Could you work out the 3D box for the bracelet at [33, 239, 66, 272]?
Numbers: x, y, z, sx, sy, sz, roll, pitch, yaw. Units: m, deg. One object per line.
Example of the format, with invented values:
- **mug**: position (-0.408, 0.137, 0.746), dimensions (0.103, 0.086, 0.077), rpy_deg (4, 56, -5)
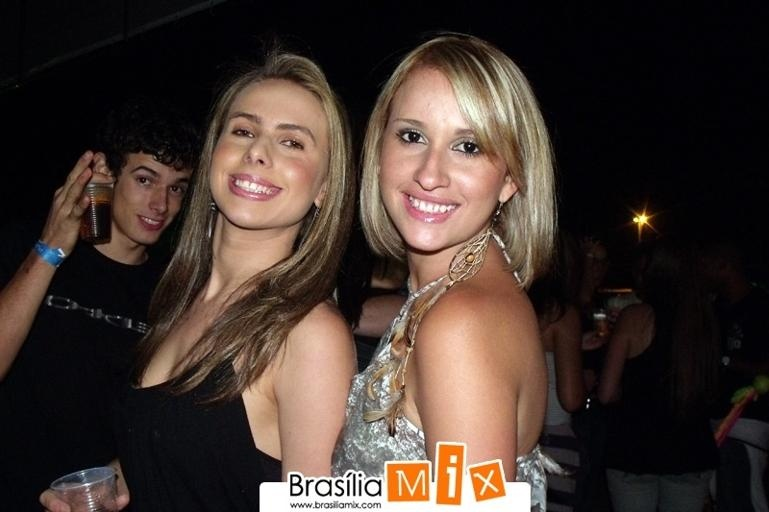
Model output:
- **bracelet**: position (-2.338, -0.013, 4.246), dimensions (0.186, 0.125, 0.189), rpy_deg (28, -5, 9)
